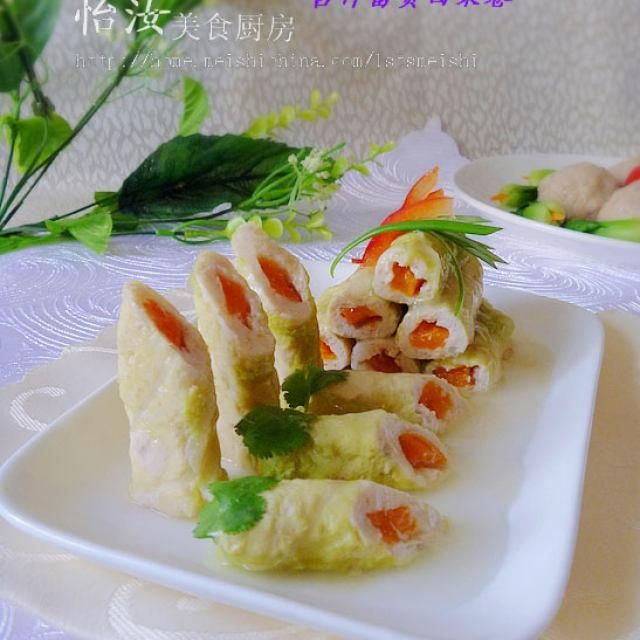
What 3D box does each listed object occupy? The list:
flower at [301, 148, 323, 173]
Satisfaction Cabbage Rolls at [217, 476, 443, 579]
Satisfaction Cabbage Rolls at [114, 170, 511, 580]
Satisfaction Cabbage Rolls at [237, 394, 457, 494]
[{"bbox_3d":[-0.002,-0.369,1.769,0.056,0.028,0.063,7,44,29],"label":"flower"},{"bbox_3d":[0.033,0.241,0.866,0.248,0.055,0.118,-7,5,19],"label":"Satisfaction Cabbage Rolls"},{"bbox_3d":[0.009,0.076,1.012,0.567,0.191,0.498,2,44,5],"label":"Satisfaction Cabbage Rolls"},{"bbox_3d":[0.026,0.160,0.973,0.276,0.059,0.111,3,15,-2],"label":"Satisfaction Cabbage Rolls"}]
